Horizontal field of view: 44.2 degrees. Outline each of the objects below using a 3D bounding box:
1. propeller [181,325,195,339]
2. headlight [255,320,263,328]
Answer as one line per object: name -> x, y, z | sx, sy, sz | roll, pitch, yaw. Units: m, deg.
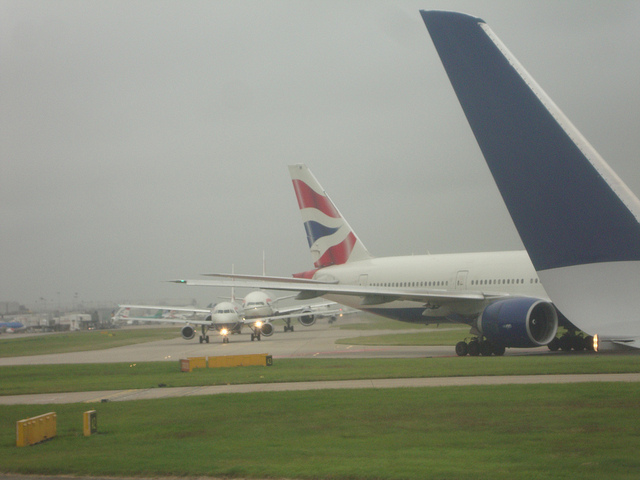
propeller -> -7.721, 5.412, 46.196 | 0.686, 0.760, 1.751 | -3, -1, -9
headlight -> -3.422, 4.769, 45.116 | 0.411, 0.409, 0.188 | 3, 29, -1
